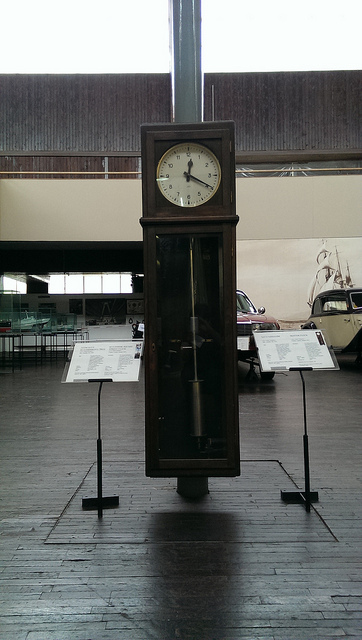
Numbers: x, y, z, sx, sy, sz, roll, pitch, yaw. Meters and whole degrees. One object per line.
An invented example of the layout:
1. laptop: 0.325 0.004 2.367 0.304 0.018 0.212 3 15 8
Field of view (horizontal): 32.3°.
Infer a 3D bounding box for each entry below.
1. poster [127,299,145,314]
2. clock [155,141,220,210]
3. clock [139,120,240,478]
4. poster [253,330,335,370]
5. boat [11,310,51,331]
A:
1. poster: -1.095 -0.291 14.805 0.388 0.391 0.237 0 -4 3
2. clock: 0.037 -0.707 3.108 0.264 0.319 0.025 4 -3 2
3. clock: 0.047 -0.037 3.164 0.555 1.899 0.378 -4 7 6
4. poster: 0.603 0.165 3.373 0.395 0.183 0.260 -6 8 4
5. boat: -2.761 0.038 11.426 0.704 0.322 0.229 -2 28 3
